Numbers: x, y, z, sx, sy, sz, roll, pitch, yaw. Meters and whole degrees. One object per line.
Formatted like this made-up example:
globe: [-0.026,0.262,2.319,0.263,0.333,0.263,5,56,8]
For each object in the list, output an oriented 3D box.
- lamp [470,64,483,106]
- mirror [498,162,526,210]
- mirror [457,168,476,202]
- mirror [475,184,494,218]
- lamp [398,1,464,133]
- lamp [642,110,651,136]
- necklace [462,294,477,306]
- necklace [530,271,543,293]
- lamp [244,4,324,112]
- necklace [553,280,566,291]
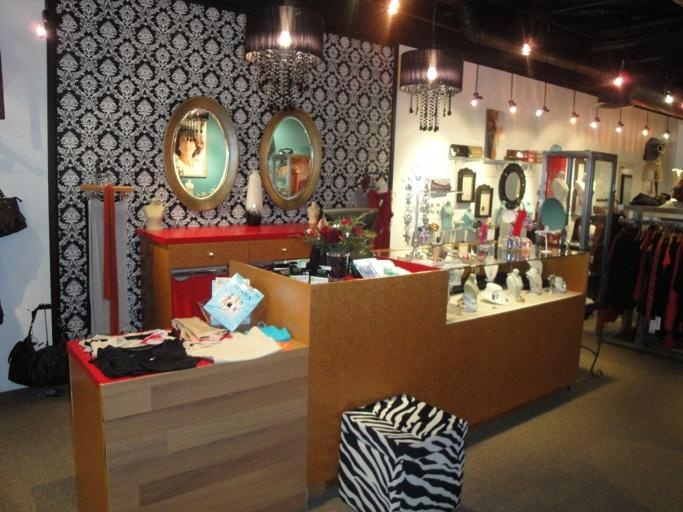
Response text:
lamp: [1.911,-2.383,7.173,0.173,0.582,0.462,4,15,14]
mirror: [2.598,-1.064,7.863,0.746,0.839,0.037,-23,22,-37]
mirror: [1.782,-1.021,7.354,0.436,0.652,0.064,-4,7,-41]
mirror: [2.099,-0.819,7.580,0.445,0.700,0.074,-2,7,-35]
lamp: [1.104,-2.278,6.200,0.675,1.535,1.840,3,15,9]
lamp: [6.117,-2.629,10.245,0.103,0.455,0.261,12,17,37]
necklace: [1.069,0.365,4.274,0.085,0.068,0.084,-10,15,-39]
necklace: [1.855,0.252,4.887,0.162,0.206,0.123,-6,11,-32]
lamp: [-0.582,-1.866,5.081,0.742,0.968,0.754,2,3,2]
necklace: [2.124,0.289,4.980,0.084,0.121,0.114,-2,-8,-10]
